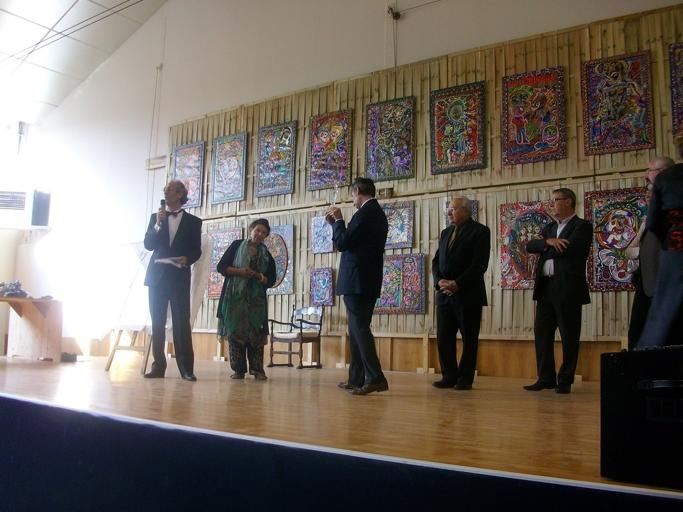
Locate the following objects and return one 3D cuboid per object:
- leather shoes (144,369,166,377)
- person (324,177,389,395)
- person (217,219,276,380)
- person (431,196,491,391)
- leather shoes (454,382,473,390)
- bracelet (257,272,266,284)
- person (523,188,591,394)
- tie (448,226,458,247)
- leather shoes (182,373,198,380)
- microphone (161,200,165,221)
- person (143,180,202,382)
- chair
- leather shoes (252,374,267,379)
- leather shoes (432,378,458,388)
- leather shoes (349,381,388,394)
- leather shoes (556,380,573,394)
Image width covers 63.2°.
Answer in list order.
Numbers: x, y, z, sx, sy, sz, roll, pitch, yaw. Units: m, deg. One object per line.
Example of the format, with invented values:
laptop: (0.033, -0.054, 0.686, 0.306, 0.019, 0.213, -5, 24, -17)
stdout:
leather shoes: (-1.888, 1.168, 5.567, 0.162, 0.085, 0.094, 5, -10, -8)
person: (0.130, 0.243, 4.682, 0.501, 1.218, 0.477, 0, 0, 4)
person: (-0.974, 0.424, 5.703, 0.602, 1.314, 0.464, 0, 0, -14)
person: (1.110, 0.334, 5.254, 0.542, 1.797, 0.483, 0, 0, 29)
leather shoes: (1.114, 1.171, 5.053, 0.153, 0.068, 0.071, -4, 10, -13)
bracelet: (-0.826, 0.221, 5.733, 0.020, 0.092, 0.091, -12, -38, 8)
person: (1.985, 0.432, 5.081, 0.551, 1.628, 0.443, 0, 0, 37)
tie: (1.091, -0.199, 5.392, 0.031, 0.169, 0.094, 19, 0, 19)
leather shoes: (-1.459, 1.156, 5.346, 0.059, 0.068, 0.137, 6, -13, -42)
microphone: (-1.797, -0.463, 5.523, 0.071, 0.197, 0.331, 0, 1, -17)
person: (-1.718, 0.246, 5.546, 0.590, 1.775, 0.547, 0, 0, -5)
chair: (-0.715, 1.170, 8.317, 0.901, 1.285, 0.759, -8, -13, 41)
leather shoes: (-0.819, 1.202, 5.533, 0.125, 0.066, 0.050, 5, -11, 7)
leather shoes: (0.968, 1.193, 5.222, 0.213, 0.079, 0.163, 0, 1, 14)
leather shoes: (0.218, 1.040, 4.510, 0.320, 0.179, 0.120, -2, -11, -3)
leather shoes: (1.960, 1.148, 4.873, 0.124, 0.108, 0.122, 0, 1, 20)
